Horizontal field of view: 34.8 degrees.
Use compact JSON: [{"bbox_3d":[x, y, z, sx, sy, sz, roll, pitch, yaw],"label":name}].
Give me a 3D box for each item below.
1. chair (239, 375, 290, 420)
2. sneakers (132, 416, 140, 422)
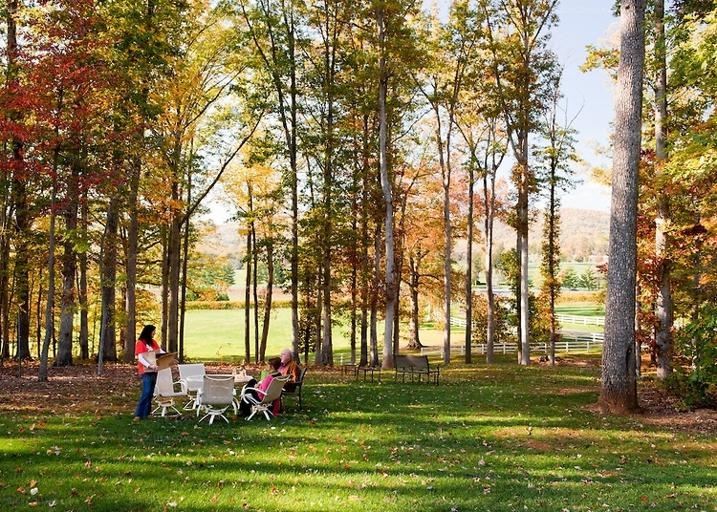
[{"bbox_3d":[-3.573,5.290,43.538,1.530,1.732,1.703,3,-5,-36],"label":"chair"},{"bbox_3d":[-8.229,6.000,42.264,0.220,0.203,0.138,-9,3,12],"label":"sneakers"}]
